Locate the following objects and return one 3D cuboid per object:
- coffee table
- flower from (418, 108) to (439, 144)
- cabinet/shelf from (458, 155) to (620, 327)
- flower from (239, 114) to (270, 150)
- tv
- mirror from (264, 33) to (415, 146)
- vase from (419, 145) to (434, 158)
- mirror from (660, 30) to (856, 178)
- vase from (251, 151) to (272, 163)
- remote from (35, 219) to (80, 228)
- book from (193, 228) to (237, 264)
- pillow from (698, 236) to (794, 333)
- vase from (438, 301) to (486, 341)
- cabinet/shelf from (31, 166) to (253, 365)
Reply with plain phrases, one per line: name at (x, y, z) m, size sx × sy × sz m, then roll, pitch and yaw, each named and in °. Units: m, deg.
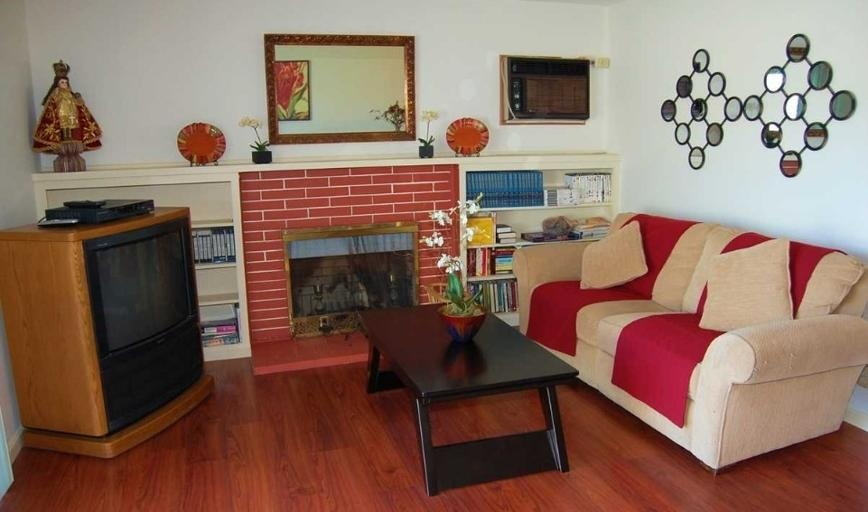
coffee table at (0.280, 0.592, 4.242) m, size 1.170 × 0.667 × 1.890 m, roll -5°, pitch 14°, yaw -16°
flower at (-0.056, -1.266, 5.894) m, size 0.185 × 0.331 × 0.273 m, roll -1°, pitch 15°, yaw 5°
cabinet/shelf at (0.969, -0.137, 5.719) m, size 1.726 × 1.572 × 0.443 m, roll -4°, pitch 11°, yaw -19°
flower at (-1.669, -1.131, 5.562) m, size 0.260 × 0.301 × 0.236 m, roll -5°, pitch 16°, yaw -10°
tv at (-2.212, 0.249, 4.452) m, size 0.617 × 0.944 × 1.054 m, roll -1°, pitch 9°, yaw 29°
mirror at (-0.959, -1.624, 5.708) m, size 1.209 × 0.809 × 0.052 m, roll -2°, pitch 6°, yaw -15°
vase at (-0.071, -1.019, 5.853) m, size 0.147 × 0.122 × 0.128 m, roll -4°, pitch 15°, yaw -8°
mirror at (2.725, -1.265, 4.951) m, size 0.035 × 0.836 × 1.486 m, roll -5°, pitch 10°, yaw -31°
vase at (-1.570, -0.891, 5.494) m, size 0.165 × 0.113 × 0.112 m, roll -2°, pitch 5°, yaw -22°
remote at (-2.703, -0.238, 4.315) m, size 0.296 × 0.036 × 0.126 m, roll 0°, pitch 15°, yaw 7°
book at (-2.029, -0.098, 5.552) m, size 0.365 × 0.332 × 0.155 m, roll -6°, pitch 16°, yaw -14°
pillow at (2.274, 0.226, 4.332) m, size 0.228 × 0.618 × 0.653 m, roll 21°, pitch -19°, yaw -36°
vase at (0.215, 0.472, 4.445) m, size 0.293 × 0.184 × 0.272 m, roll 0°, pitch 1°, yaw -15°
cabinet/shelf at (-2.339, 0.076, 4.757) m, size 1.627 × 1.685 × 0.556 m, roll -8°, pitch 14°, yaw -25°
